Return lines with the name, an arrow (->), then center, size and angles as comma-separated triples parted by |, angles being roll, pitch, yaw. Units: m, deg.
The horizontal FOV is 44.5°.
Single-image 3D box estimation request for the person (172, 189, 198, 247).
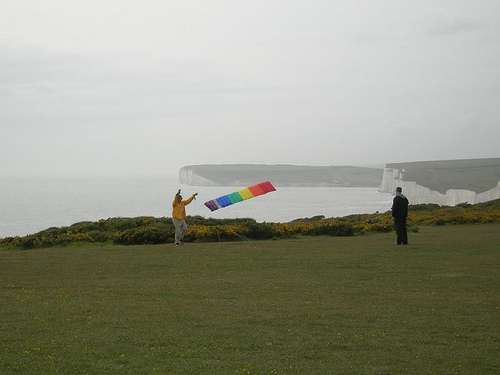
person -> -2.435, 1.099, 21.454 | 0.652, 2.202, 1.240 | -3, 14, -7
